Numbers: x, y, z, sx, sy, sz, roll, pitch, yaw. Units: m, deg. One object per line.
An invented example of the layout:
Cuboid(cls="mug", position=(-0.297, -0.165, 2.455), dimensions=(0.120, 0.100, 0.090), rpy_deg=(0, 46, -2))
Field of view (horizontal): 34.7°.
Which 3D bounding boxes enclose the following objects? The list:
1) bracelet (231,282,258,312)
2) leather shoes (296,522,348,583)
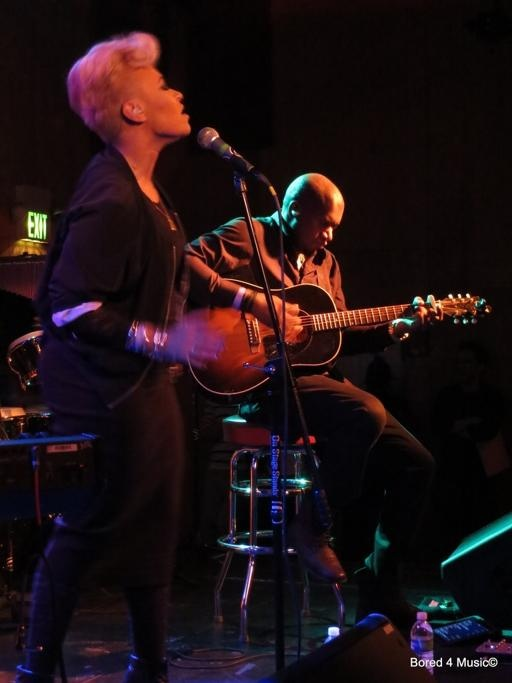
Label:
Cuboid(cls="bracelet", position=(-0.041, -0.143, 2.781), dimensions=(0.107, 0.095, 0.075), rpy_deg=(11, -15, -1))
Cuboid(cls="leather shoes", position=(0.205, 0.671, 2.601), dimensions=(0.087, 0.151, 0.203), rpy_deg=(-4, 11, -39))
